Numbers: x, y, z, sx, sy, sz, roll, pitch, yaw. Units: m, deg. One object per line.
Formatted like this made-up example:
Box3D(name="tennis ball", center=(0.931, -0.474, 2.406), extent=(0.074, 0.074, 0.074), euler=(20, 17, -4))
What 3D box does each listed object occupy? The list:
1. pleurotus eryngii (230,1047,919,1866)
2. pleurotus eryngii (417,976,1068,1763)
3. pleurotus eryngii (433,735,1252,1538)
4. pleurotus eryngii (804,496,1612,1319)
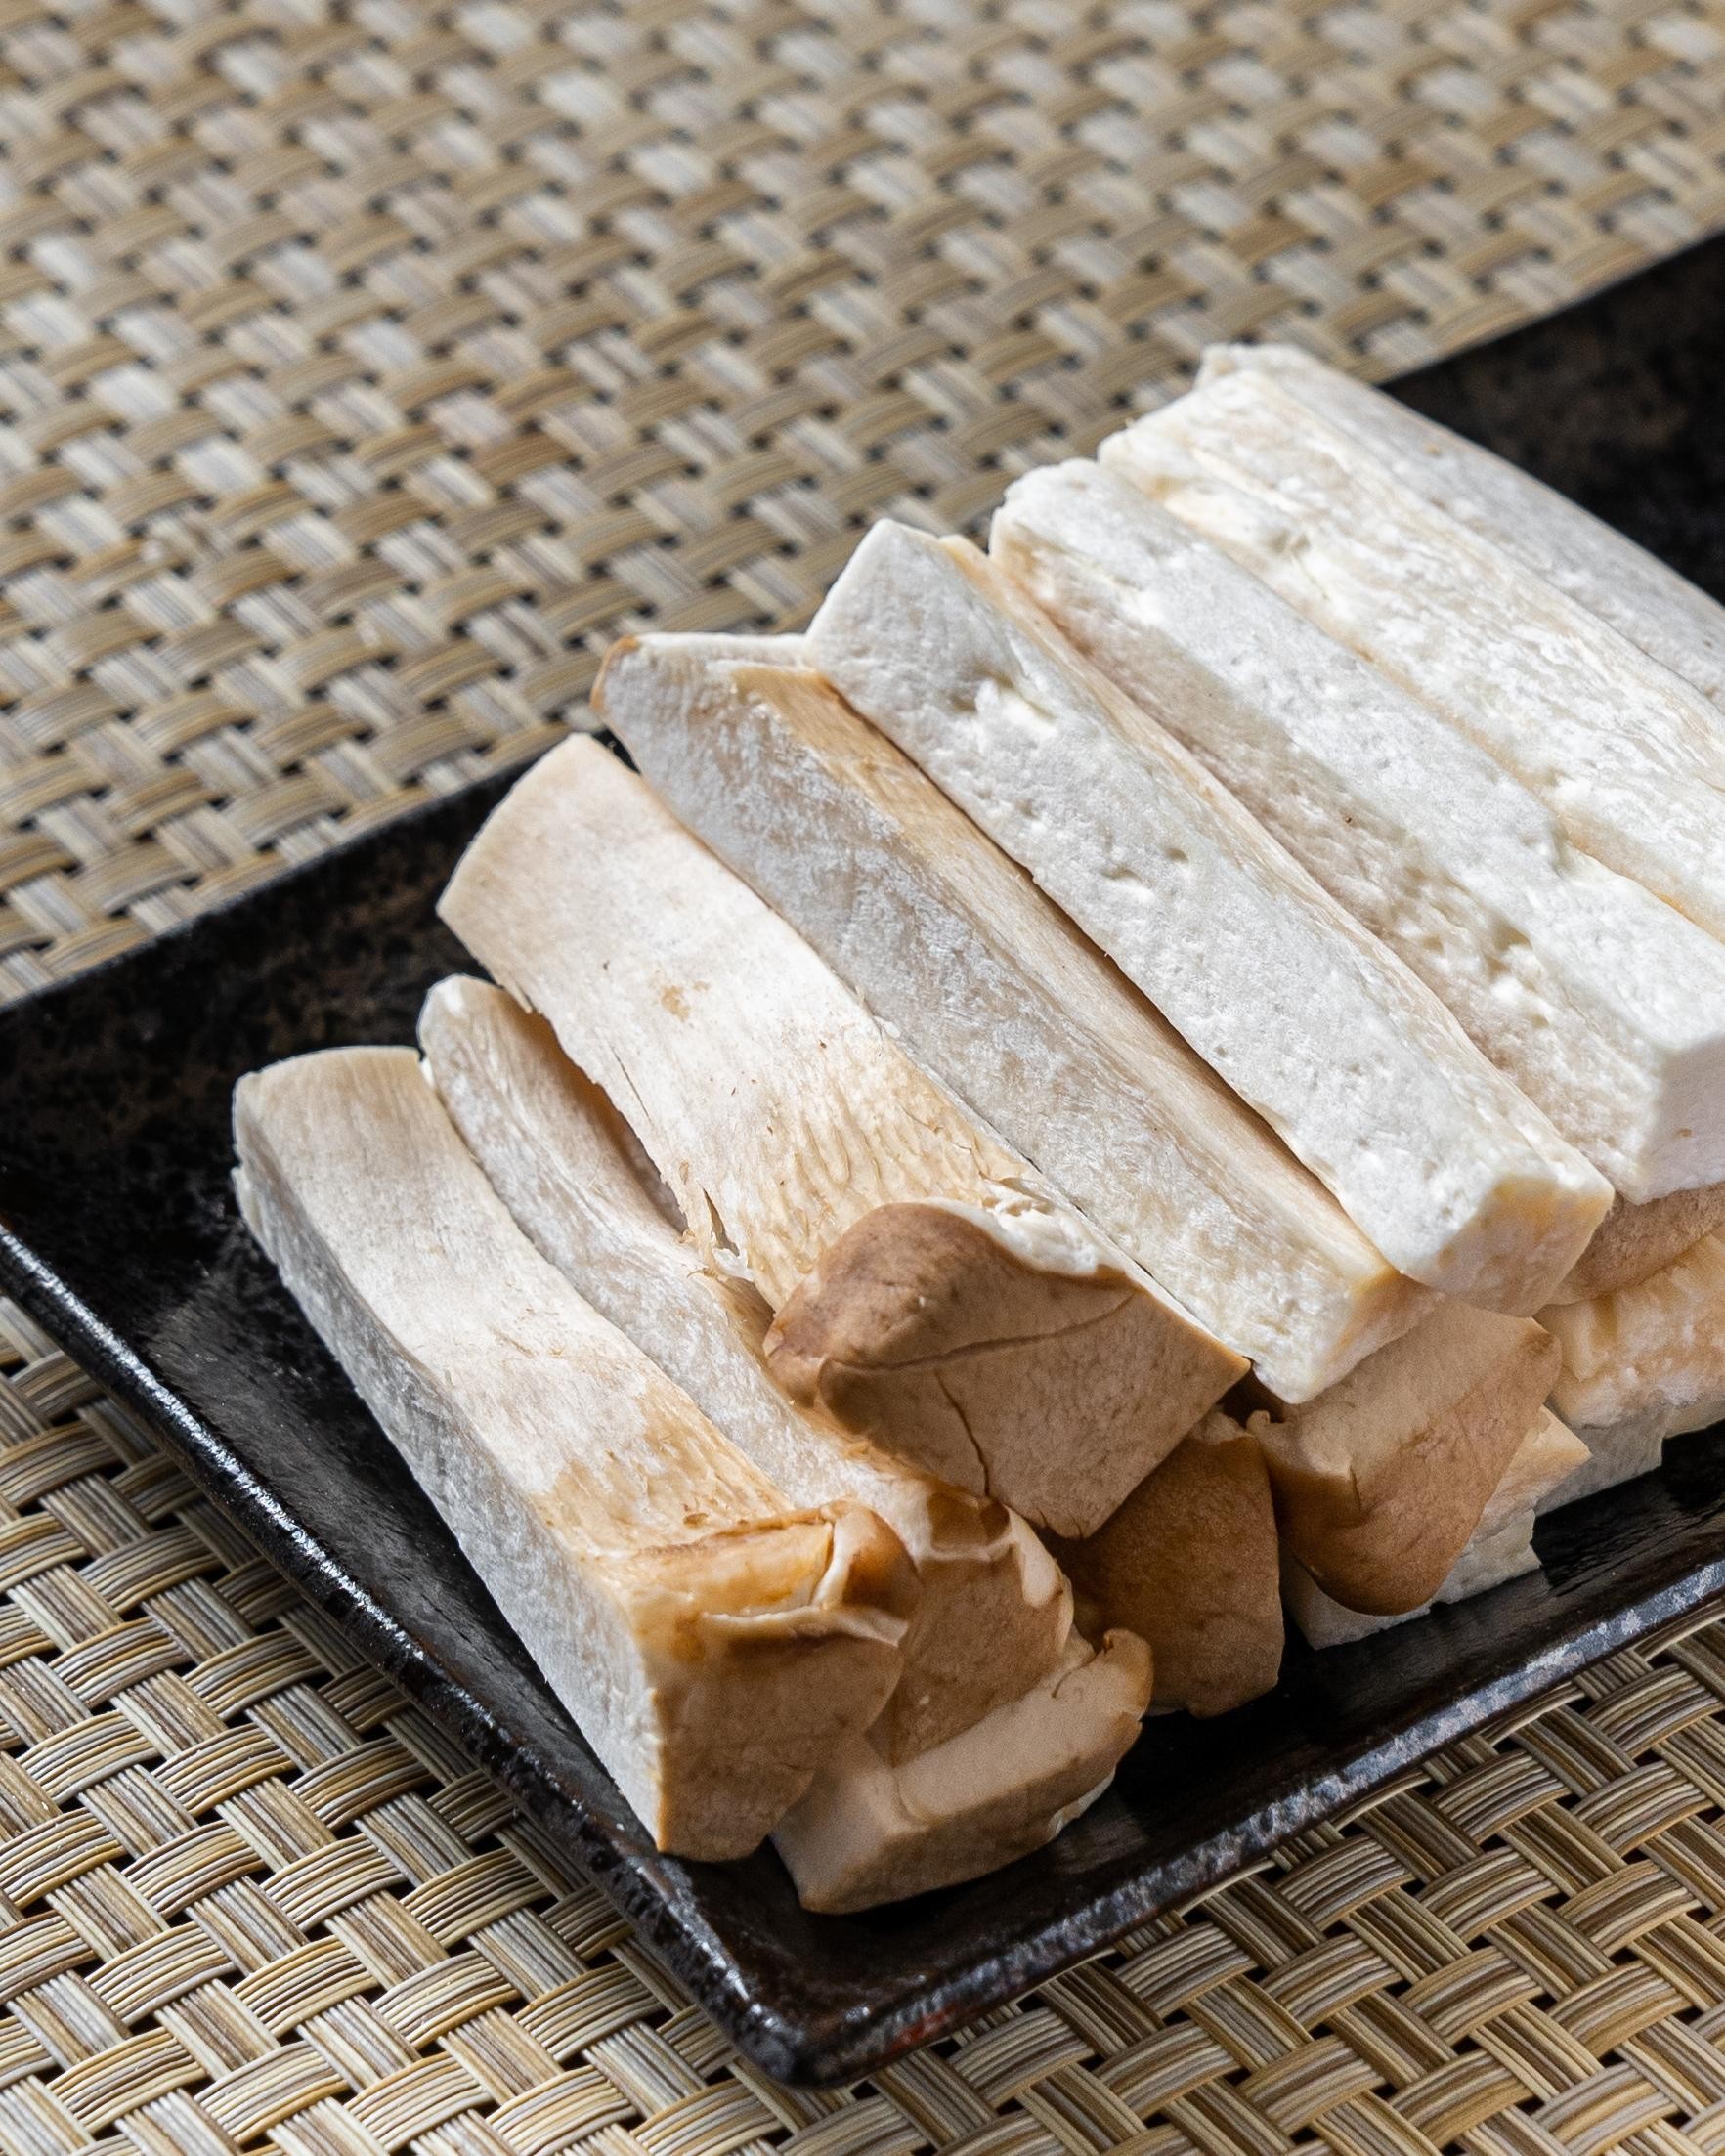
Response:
Box3D(name="pleurotus eryngii", center=(-0.135, 0.193, 1.191), extent=(0.137, 0.145, 0.476), euler=(-46, 62, -1))
Box3D(name="pleurotus eryngii", center=(-0.127, 0.136, 1.276), extent=(0.139, 0.045, 0.467), euler=(2, 28, -28))
Box3D(name="pleurotus eryngii", center=(-0.043, 0.017, 1.324), extent=(0.169, 0.147, 0.526), euler=(-37, 44, -5))
Box3D(name="pleurotus eryngii", center=(0.164, -0.070, 1.214), extent=(0.606, 0.136, 0.127), euler=(42, 31, 13))
